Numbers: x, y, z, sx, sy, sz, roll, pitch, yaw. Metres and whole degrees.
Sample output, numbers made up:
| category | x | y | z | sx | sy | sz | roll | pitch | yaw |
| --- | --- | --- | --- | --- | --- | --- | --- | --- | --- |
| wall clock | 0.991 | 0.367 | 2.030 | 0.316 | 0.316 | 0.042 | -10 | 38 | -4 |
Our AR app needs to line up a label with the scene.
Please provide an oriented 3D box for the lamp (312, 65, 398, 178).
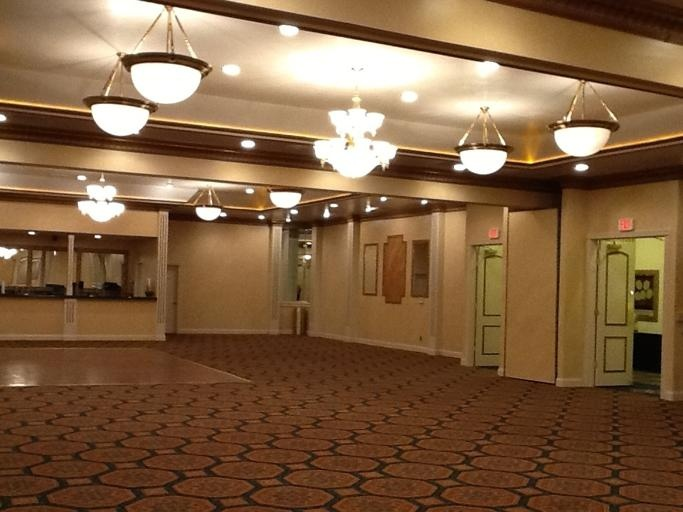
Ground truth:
| category | x | y | z | sx | sy | sz | roll | pitch | yaw |
| --- | --- | --- | --- | --- | --- | --- | --- | --- | --- |
| lamp | 0.139 | -1.719 | 6.307 | 0.987 | 1.060 | 0.942 | 8 | 13 | 14 |

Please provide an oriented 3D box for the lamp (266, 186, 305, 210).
| category | x | y | z | sx | sy | sz | roll | pitch | yaw |
| --- | --- | --- | --- | --- | --- | --- | --- | --- | --- |
| lamp | -1.195 | -1.265 | 10.958 | 0.686 | 0.365 | 0.692 | 3 | 4 | 43 |

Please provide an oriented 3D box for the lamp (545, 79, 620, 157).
| category | x | y | z | sx | sy | sz | roll | pitch | yaw |
| --- | --- | --- | --- | --- | --- | --- | --- | --- | --- |
| lamp | 2.616 | -1.510 | 5.506 | 0.779 | 0.795 | 0.708 | 3 | 5 | 11 |

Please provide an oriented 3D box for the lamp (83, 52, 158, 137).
| category | x | y | z | sx | sy | sz | roll | pitch | yaw |
| --- | --- | --- | --- | --- | --- | --- | --- | --- | --- |
| lamp | -2.069 | -1.535 | 4.772 | 0.660 | 0.595 | 0.580 | 0 | 19 | -18 |

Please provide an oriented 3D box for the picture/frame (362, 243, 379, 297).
| category | x | y | z | sx | sy | sz | roll | pitch | yaw |
| --- | --- | --- | --- | --- | --- | --- | --- | --- | --- |
| picture/frame | 0.951 | 0.458 | 16.810 | 0.066 | 1.712 | 0.850 | 2 | 1 | 39 |

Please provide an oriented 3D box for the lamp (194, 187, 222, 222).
| category | x | y | z | sx | sy | sz | roll | pitch | yaw |
| --- | --- | --- | --- | --- | --- | --- | --- | --- | --- |
| lamp | -3.681 | -1.530 | 13.861 | 0.783 | 0.868 | 0.729 | 1 | 8 | -27 |
